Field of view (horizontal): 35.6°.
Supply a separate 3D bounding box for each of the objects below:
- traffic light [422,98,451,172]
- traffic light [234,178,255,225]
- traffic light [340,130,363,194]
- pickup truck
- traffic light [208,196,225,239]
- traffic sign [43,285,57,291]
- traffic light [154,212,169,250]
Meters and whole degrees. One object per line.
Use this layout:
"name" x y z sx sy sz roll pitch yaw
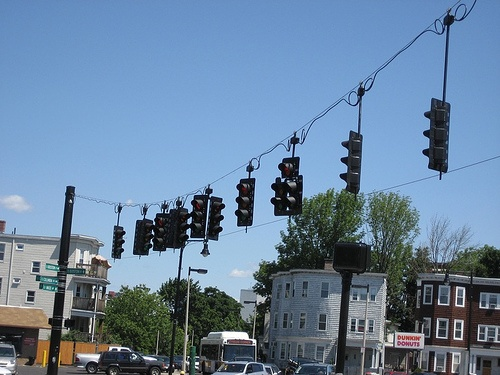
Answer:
"traffic light" 9.860 -2.747 41.233 1.272 3.974 0.518 6 -14 -8
"traffic light" -0.343 0.841 45.908 0.965 2.883 0.483 1 -14 11
"traffic light" 5.404 -1.430 41.869 1.033 3.249 0.889 6 -14 -10
"pickup truck" -12.009 15.597 69.739 7.032 2.897 3.185 -1 -6 1
"traffic light" -2.142 1.922 47.678 0.841 2.649 0.634 6 -14 -8
"traffic sign" -14.307 7.078 55.324 1.257 0.454 0.481 9 -16 -15
"traffic light" -5.952 2.983 51.870 0.989 2.669 0.723 6 -14 -8
